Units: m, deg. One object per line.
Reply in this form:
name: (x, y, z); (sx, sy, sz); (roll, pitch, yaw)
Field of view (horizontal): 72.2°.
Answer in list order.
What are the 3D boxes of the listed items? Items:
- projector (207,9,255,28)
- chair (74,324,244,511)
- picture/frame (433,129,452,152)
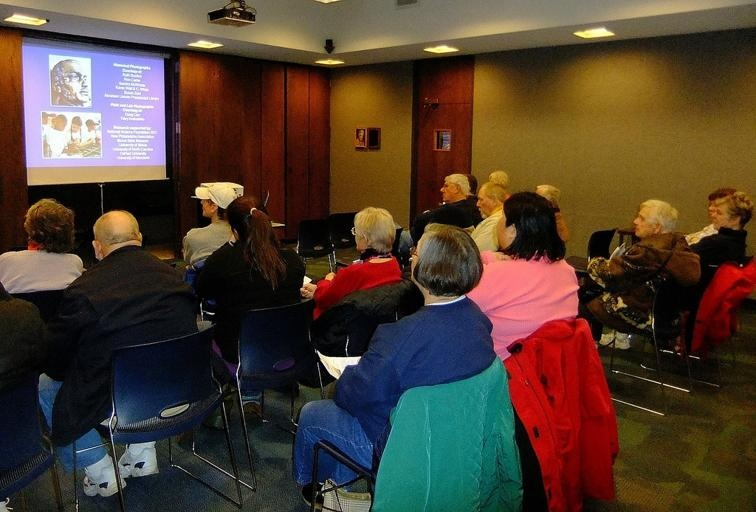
projector: (-1.797, -2.940, 6.339); (0.538, 0.177, 0.341); (12, 20, 42)
chair: (-1.297, 0.945, 3.024); (0.732, 1.226, 0.724); (-12, 34, -37)
picture/frame: (1.063, -1.940, 8.669); (0.351, 0.340, 0.091); (6, 3, 40)
